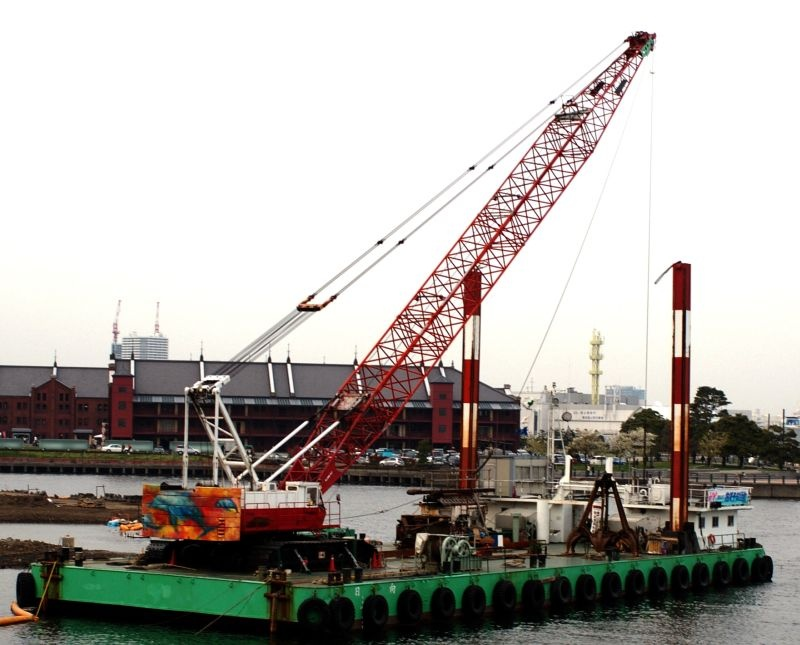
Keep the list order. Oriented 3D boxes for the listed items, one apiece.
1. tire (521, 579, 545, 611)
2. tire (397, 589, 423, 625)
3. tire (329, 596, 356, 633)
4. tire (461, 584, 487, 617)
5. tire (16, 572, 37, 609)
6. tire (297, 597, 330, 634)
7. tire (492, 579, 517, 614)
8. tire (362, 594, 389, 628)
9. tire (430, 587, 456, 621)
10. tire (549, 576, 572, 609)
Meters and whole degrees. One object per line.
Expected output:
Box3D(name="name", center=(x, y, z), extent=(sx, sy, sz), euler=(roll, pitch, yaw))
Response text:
Box3D(name="tire", center=(4.471, 9.219, 51.844), extent=(0.489, 1.096, 0.763), euler=(-5, -11, 35))
Box3D(name="tire", center=(0.296, 9.000, 48.739), extent=(0.355, 0.850, 0.887), euler=(-11, -37, 28))
Box3D(name="tire", center=(-1.746, 8.956, 47.089), extent=(0.288, 1.092, 0.989), euler=(-4, -11, 33))
Box3D(name="tire", center=(2.388, 9.069, 50.201), extent=(0.512, 1.131, 1.214), euler=(-4, -1, 30))
Box3D(name="tire", center=(-12.172, 8.755, 50.385), extent=(0.712, 1.163, 0.375), euler=(3, -9, -6))
Box3D(name="tire", center=(-2.594, 8.844, 46.676), extent=(0.985, 0.900, 0.311), euler=(-16, 4, -19))
Box3D(name="tire", center=(3.434, 9.081, 50.980), extent=(0.514, 1.129, 1.212), euler=(-3, -4, 30))
Box3D(name="tire", center=(-0.772, 9.008, 48.083), extent=(0.906, 1.045, 0.360), euler=(10, -12, -43))
Box3D(name="tire", center=(1.371, 9.027, 49.408), extent=(0.440, 1.037, 1.111), euler=(-3, -8, 28))
Box3D(name="tire", center=(5.514, 9.237, 52.539), extent=(0.935, 1.110, 0.329), euler=(8, -11, -35))
